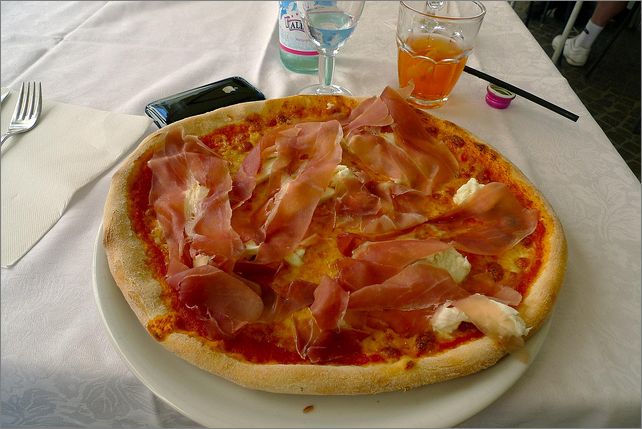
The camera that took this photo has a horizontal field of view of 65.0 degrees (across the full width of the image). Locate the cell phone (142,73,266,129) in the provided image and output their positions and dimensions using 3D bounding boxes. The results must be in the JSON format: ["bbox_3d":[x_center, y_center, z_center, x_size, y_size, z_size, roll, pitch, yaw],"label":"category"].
[{"bbox_3d":[-0.346,-0.330,1.435,0.285,0.047,0.168,-19,50,-20],"label":"cell phone"}]
